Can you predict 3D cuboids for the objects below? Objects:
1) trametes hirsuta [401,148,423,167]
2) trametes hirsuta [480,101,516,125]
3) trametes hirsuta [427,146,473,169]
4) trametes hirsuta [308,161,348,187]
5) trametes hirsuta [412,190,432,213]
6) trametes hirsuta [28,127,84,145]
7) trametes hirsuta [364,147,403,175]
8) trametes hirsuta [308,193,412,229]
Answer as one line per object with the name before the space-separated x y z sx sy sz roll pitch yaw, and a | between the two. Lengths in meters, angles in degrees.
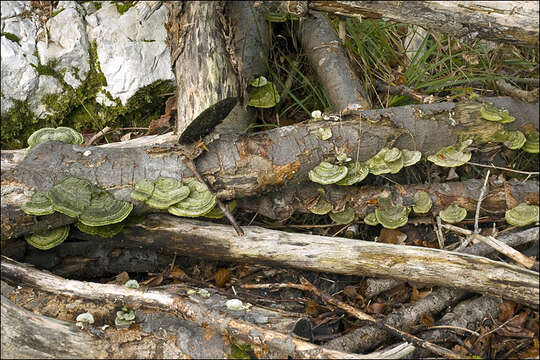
trametes hirsuta | 2.034 -0.342 7.214 0.253 0.189 0.188 -6 30 14
trametes hirsuta | 3.212 -0.944 7.084 0.426 0.095 0.262 20 62 12
trametes hirsuta | 2.610 -0.330 7.238 0.422 0.088 0.365 -3 43 23
trametes hirsuta | 0.811 -0.089 7.038 0.398 0.106 0.342 -21 59 1
trametes hirsuta | 2.180 0.325 7.239 0.322 0.079 0.376 -23 31 42
trametes hirsuta | -3.001 -0.625 7.076 0.457 0.122 0.407 -8 23 -44
trametes hirsuta | 1.609 -0.309 7.385 0.664 0.193 0.824 12 -8 0
trametes hirsuta | 1.384 0.488 7.357 1.328 0.685 0.308 -5 31 16
